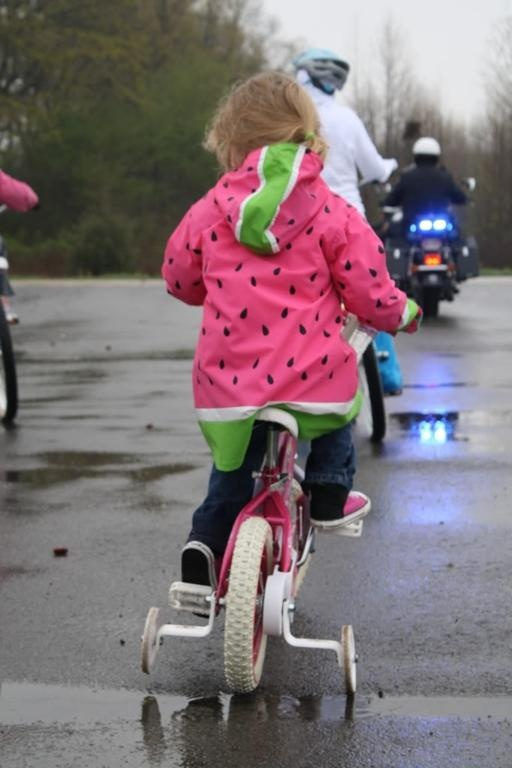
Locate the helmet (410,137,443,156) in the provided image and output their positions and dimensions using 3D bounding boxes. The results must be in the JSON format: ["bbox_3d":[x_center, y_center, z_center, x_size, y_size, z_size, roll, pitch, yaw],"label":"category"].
[{"bbox_3d":[2.139,-2.995,14.092,0.311,0.207,0.372,2,11,5],"label":"helmet"}]

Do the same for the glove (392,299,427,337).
[{"bbox_3d":[0.422,-0.185,3.086,0.080,0.088,0.035,23,4,35],"label":"glove"}]

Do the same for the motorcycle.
[{"bbox_3d":[2.180,-1.609,13.983,0.998,1.239,1.979,-1,13,8],"label":"motorcycle"}]

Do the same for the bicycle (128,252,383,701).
[{"bbox_3d":[0.134,0.400,3.277,0.537,0.716,1.123,5,11,9],"label":"bicycle"}]

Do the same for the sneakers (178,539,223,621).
[{"bbox_3d":[-0.164,0.560,3.181,0.083,0.229,0.092,-1,5,18],"label":"sneakers"}]

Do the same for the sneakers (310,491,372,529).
[{"bbox_3d":[0.255,0.399,3.396,0.079,0.088,0.224,6,14,32],"label":"sneakers"}]

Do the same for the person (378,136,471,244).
[{"bbox_3d":[2.155,-2.690,14.466,0.898,0.847,1.371,2,11,7],"label":"person"}]

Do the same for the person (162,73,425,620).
[{"bbox_3d":[0.067,-0.096,3.029,0.730,1.514,0.476,1,9,9],"label":"person"}]
